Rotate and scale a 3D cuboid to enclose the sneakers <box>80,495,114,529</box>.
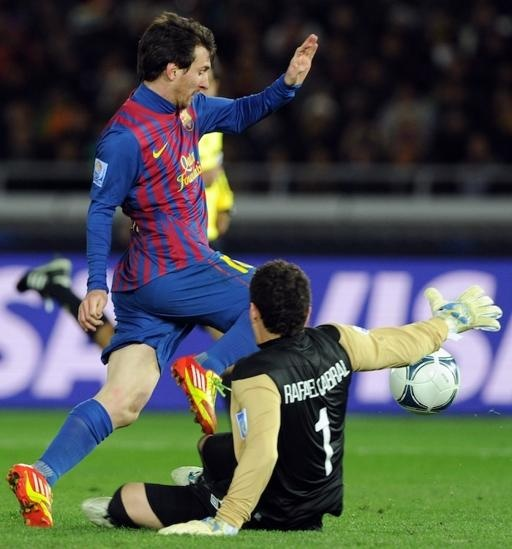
[{"bbox_3d":[-0.565,0.846,2.750,0.133,0.068,0.052,5,15,27],"label":"sneakers"}]

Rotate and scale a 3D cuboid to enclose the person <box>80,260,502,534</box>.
[{"bbox_3d":[0.109,0.449,2.799,1.474,0.824,1.204,-2,-5,-19],"label":"person"}]

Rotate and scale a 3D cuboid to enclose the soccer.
[{"bbox_3d":[0.662,0.425,3.069,0.273,0.259,0.249,8,-2,-24],"label":"soccer"}]

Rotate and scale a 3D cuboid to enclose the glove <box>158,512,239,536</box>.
[{"bbox_3d":[-0.174,0.768,2.373,0.175,0.038,0.093,-1,9,-11],"label":"glove"}]

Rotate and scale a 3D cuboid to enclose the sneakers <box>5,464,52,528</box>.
[{"bbox_3d":[-0.782,0.765,2.707,0.125,0.251,0.139,-15,11,-16],"label":"sneakers"}]
